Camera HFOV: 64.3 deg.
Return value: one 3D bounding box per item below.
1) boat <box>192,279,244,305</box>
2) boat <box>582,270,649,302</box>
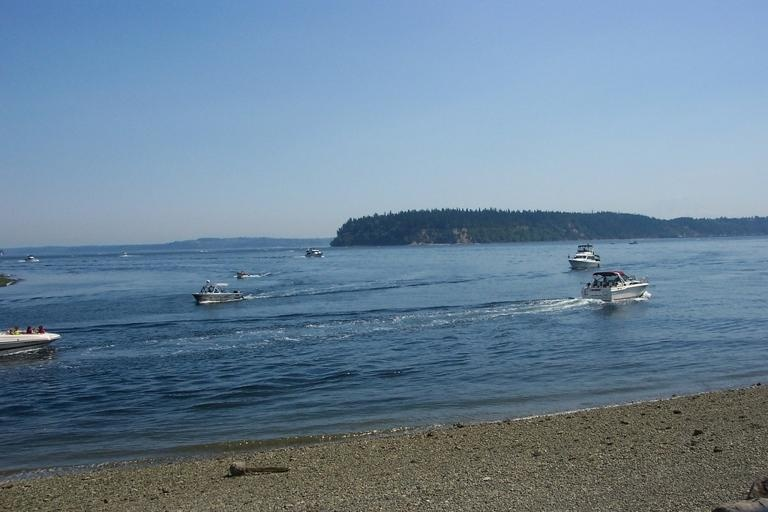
[{"bbox_3d":[-18.772,4.362,68.173,3.817,1.744,5.028,-1,5,24],"label":"boat"},{"bbox_3d":[22.245,2.854,58.923,4.296,2.658,5.556,0,6,37],"label":"boat"}]
